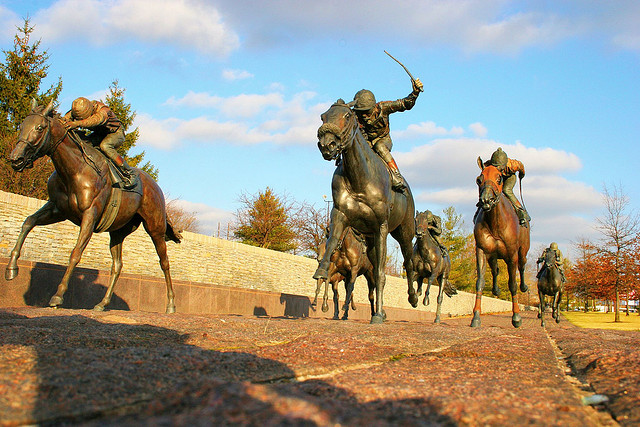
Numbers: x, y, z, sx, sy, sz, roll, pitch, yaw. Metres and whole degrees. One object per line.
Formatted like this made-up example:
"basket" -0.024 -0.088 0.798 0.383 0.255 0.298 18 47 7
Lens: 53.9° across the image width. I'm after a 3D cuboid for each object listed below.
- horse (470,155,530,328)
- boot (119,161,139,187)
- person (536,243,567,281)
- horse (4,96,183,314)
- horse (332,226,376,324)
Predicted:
"horse" 4.394 0.649 15.248 1.314 4.153 3.568 -1 -11 18
"boot" -3.992 -0.826 13.051 0.409 0.191 0.575 47 13 -26
"person" 9.020 1.959 24.394 0.799 1.572 2.802 8 10 27
"horse" -4.687 -0.009 12.825 1.301 3.918 3.853 0 -11 17
"horse" 0.980 1.749 20.314 1.024 3.225 4.284 0 -11 18
